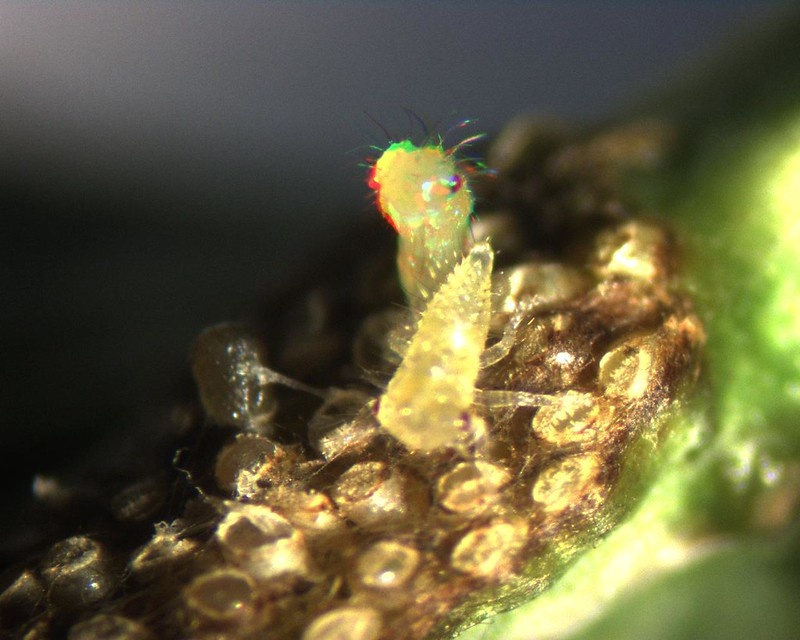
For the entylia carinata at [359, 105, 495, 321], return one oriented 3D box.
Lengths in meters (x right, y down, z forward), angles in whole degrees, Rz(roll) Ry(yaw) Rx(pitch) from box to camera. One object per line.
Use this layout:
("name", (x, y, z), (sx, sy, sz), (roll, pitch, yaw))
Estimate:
("entylia carinata", (0.045, -0.199, 1.781), (0.217, 0.376, 0.104), (-6, 4, -6))
